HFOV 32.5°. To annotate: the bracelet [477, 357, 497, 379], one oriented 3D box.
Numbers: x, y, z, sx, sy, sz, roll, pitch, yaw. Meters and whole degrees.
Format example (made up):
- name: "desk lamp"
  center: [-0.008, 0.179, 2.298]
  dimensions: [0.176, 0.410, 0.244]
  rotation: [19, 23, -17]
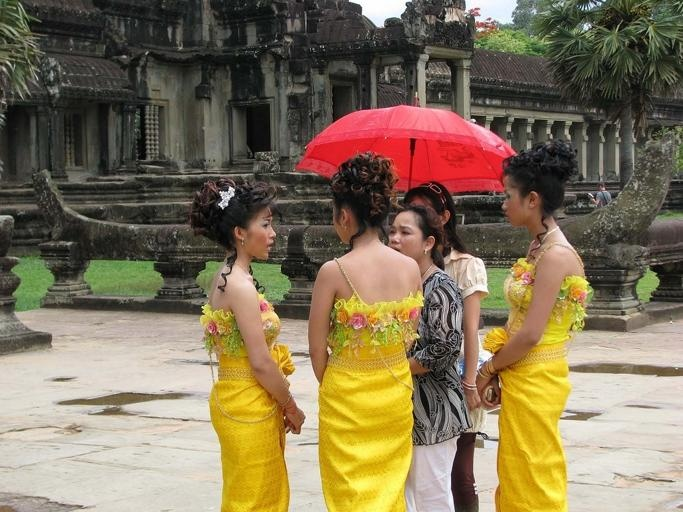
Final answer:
- name: "bracelet"
  center: [1.019, 0.765, 8.119]
  dimensions: [0.111, 0.136, 0.109]
  rotation: [23, -24, 20]
